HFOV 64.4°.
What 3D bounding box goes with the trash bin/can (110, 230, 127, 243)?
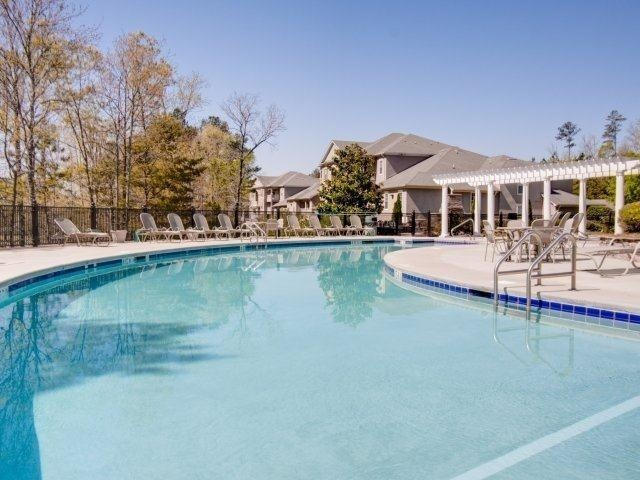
[{"bbox_3d":[-7.628,-0.124,19.275,0.610,0.490,0.486,0,-3,-35],"label":"trash bin/can"}]
